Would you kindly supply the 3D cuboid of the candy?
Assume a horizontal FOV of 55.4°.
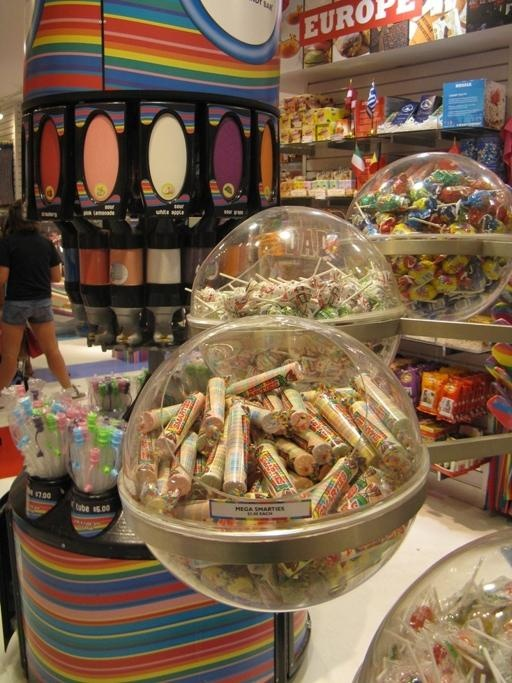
[{"bbox_3d":[0.070,0.096,0.620,0.234,0.226,0.513,4,10,20],"label":"candy"}]
